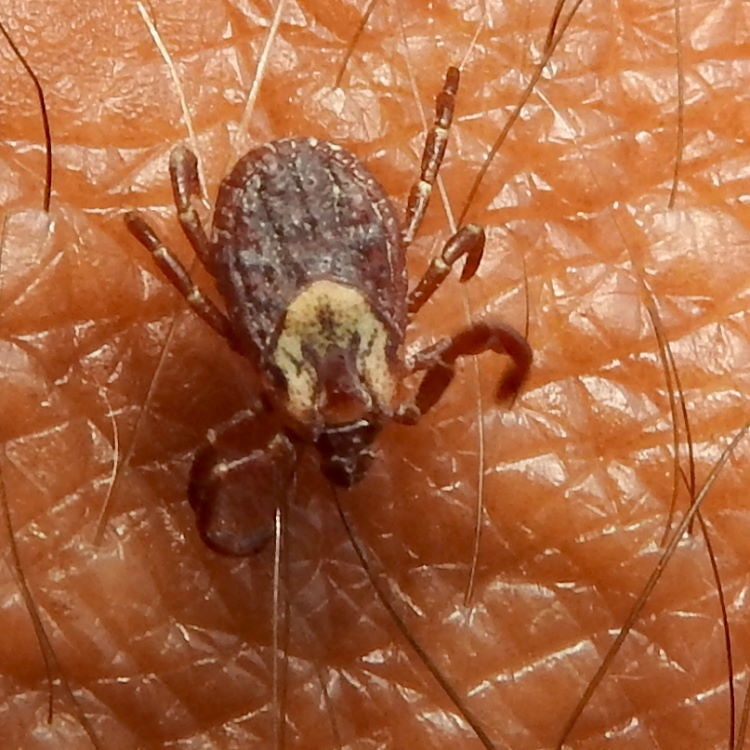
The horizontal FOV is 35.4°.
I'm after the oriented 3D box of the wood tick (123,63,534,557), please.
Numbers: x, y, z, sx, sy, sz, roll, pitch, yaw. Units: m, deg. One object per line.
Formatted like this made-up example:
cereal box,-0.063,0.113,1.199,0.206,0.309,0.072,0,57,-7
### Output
wood tick,-0.146,-0.144,2.813,0.899,1.046,0.265,-14,1,-8
